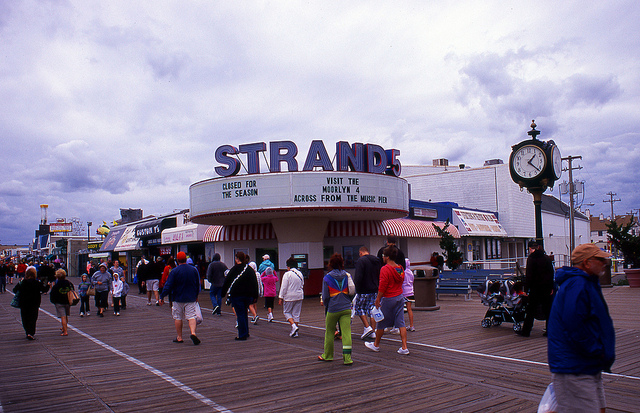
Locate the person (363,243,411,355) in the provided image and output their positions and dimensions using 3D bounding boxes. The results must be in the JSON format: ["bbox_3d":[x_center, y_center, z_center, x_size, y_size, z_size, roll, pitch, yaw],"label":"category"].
[{"bbox_3d":[1.736,2.311,12.141,1.005,2.705,0.756,0,-6,-13],"label":"person"}]

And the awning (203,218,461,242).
[{"bbox_3d":[0.212,1.476,29.030,14.317,1.357,4.362,-2,-7,2],"label":"awning"}]

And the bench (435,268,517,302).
[{"bbox_3d":[7.126,3.649,22.834,3.236,1.279,2.464,-4,-7,13],"label":"bench"}]

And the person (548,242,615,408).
[{"bbox_3d":[3.853,1.763,7.166,0.902,2.412,0.422,-4,-6,20],"label":"person"}]

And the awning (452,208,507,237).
[{"bbox_3d":[12.751,1.322,38.636,6.640,2.085,1.951,4,-5,-43],"label":"awning"}]

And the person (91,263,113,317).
[{"bbox_3d":[-8.719,3.314,19.318,0.787,2.097,1.461,1,-7,-26],"label":"person"}]

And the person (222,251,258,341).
[{"bbox_3d":[-2.356,2.631,14.445,0.980,2.527,1.069,-1,-6,-12],"label":"person"}]

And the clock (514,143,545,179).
[{"bbox_3d":[7.561,-1.632,17.507,1.153,1.390,0.126,-2,-21,20],"label":"clock"}]

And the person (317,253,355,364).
[{"bbox_3d":[0.434,2.410,11.628,0.901,2.552,0.619,-6,-7,33],"label":"person"}]

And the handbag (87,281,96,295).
[{"bbox_3d":[-8.972,3.192,18.985,0.296,0.501,0.404,1,-7,-28],"label":"handbag"}]

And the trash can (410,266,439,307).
[{"bbox_3d":[4.113,3.012,18.685,0.817,1.070,0.848,-9,-8,21],"label":"trash can"}]

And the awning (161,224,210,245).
[{"bbox_3d":[-9.085,1.835,32.303,0.407,1.161,6.168,3,-9,-41],"label":"awning"}]
